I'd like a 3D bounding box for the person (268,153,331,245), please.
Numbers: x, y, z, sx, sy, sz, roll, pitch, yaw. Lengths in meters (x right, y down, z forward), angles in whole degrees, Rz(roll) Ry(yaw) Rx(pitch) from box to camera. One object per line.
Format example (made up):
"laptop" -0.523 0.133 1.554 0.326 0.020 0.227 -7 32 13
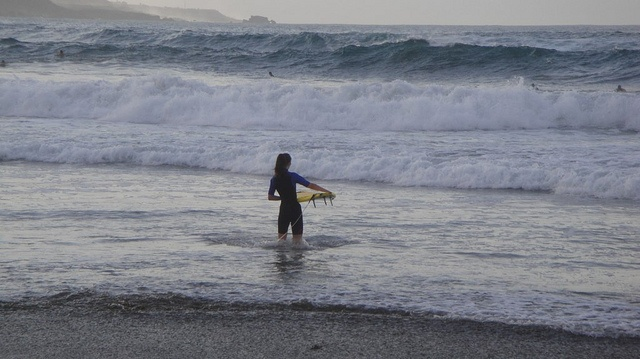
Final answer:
"person" -0.841 0.574 25.925 1.362 2.669 0.520 5 11 5

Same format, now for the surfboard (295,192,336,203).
"surfboard" -0.105 0.554 26.526 0.592 0.324 1.993 2 -6 -32
